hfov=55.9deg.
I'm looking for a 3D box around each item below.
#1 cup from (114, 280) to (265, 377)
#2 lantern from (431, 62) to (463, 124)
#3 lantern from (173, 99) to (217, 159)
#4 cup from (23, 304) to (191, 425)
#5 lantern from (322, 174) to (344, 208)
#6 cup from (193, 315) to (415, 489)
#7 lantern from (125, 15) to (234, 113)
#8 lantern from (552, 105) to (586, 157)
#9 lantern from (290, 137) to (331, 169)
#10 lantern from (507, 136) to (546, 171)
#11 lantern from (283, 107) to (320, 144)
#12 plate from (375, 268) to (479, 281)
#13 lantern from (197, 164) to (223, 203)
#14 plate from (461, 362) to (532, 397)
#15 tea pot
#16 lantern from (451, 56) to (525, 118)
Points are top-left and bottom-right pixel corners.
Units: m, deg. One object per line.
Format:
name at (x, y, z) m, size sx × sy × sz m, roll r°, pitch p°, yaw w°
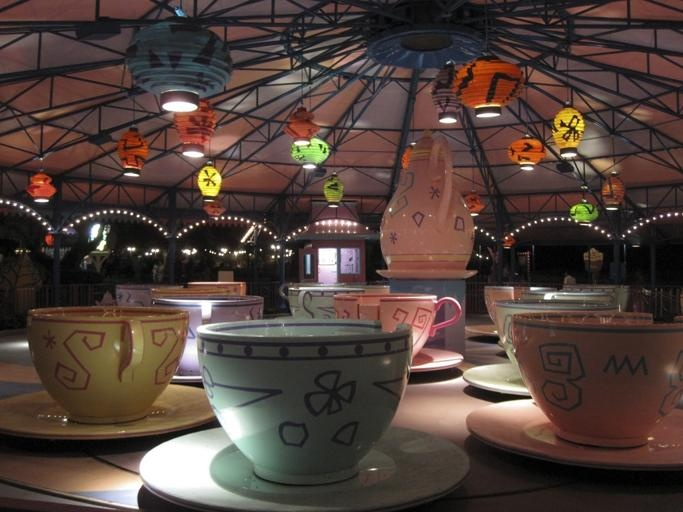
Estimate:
cup at (-0.694, 0.262, 2.794) m, size 0.662 × 0.331 × 0.536 m, roll 1°, pitch -1°, yaw -5°
lantern at (1.438, -2.307, 8.691) m, size 0.453 × 0.902 × 0.396 m, roll -1°, pitch 13°, yaw 1°
lantern at (-1.723, -1.498, 7.502) m, size 0.374 × 0.422 × 0.340 m, roll -5°, pitch -22°, yaw -33°
cup at (-0.765, 0.376, 2.134) m, size 0.525 × 0.295 × 0.594 m, roll 3°, pitch -11°, yaw -23°
lantern at (-0.204, -1.490, 14.668) m, size 0.592 × 0.669 × 0.577 m, roll 3°, pitch 2°, yaw 31°
cup at (-0.089, 0.426, 1.793) m, size 0.629 × 0.333 × 0.562 m, roll 2°, pitch -12°, yaw -12°
lantern at (-1.114, -1.413, 4.676) m, size 0.791 × 0.499 × 0.729 m, roll 0°, pitch -2°, yaw -1°
lantern at (3.244, -1.798, 9.205) m, size 0.402 × 0.748 × 0.389 m, roll 1°, pitch 0°, yaw 16°
lantern at (-0.491, -1.622, 10.380) m, size 0.603 × 0.344 × 0.542 m, roll 0°, pitch 3°, yaw 0°
lantern at (3.078, -1.705, 10.651) m, size 0.631 × 0.544 × 0.611 m, roll 3°, pitch 3°, yaw 24°
lantern at (-0.565, -1.860, 9.319) m, size 0.505 × 0.442 × 0.460 m, roll 0°, pitch 2°, yaw -2°
plate at (0.422, 0.099, 3.213) m, size 0.485 × 0.055 × 0.352 m, roll 1°, pitch 0°, yaw 12°
lantern at (-2.512, -1.364, 11.962) m, size 0.550 × 0.663 × 0.465 m, roll 1°, pitch 17°, yaw 3°
plate at (0.613, 0.492, 2.583) m, size 0.220 × 0.026 × 0.218 m, roll 1°, pitch 16°, yaw 36°
tea pot at (0.432, -0.273, 3.208) m, size 0.446 × 0.676 × 0.198 m, roll 1°, pitch 0°, yaw 5°
lantern at (1.546, -1.621, 6.631) m, size 0.506 × 0.330 × 0.477 m, roll 7°, pitch 1°, yaw -33°
